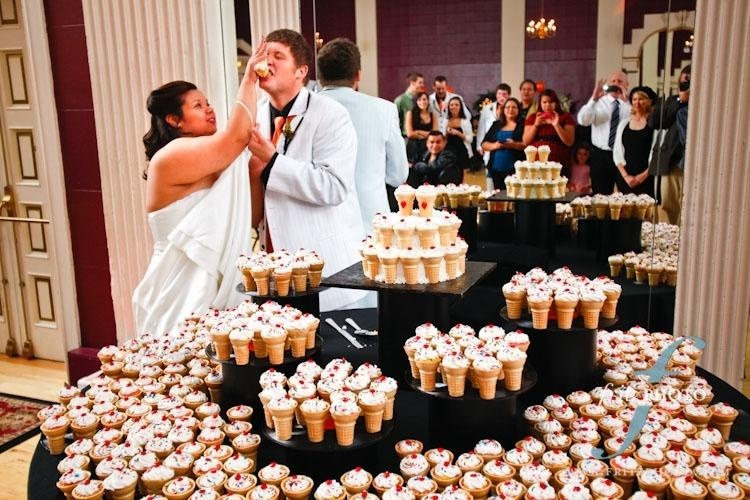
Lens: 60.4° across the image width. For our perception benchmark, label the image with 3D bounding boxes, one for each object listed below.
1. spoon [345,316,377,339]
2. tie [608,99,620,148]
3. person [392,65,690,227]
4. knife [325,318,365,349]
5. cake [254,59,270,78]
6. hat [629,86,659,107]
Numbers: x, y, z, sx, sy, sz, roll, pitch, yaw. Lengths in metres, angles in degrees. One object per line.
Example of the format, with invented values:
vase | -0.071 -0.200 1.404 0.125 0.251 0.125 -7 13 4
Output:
spoon | -0.079 0.418 3.431 0.057 0.054 0.315 -4 17 -20
tie | 1.485 -0.776 3.963 0.066 0.289 0.028 -3 13 6
person | 1.127 -0.650 4.002 1.035 0.904 0.234 4 11 10
knife | -0.185 0.413 3.407 0.069 0.008 0.508 -23 23 -24
cake | -0.616 -1.008 3.558 0.076 0.086 0.031 -6 20 -23
hat | 1.657 -0.949 3.912 0.124 0.117 0.035 9 35 7
